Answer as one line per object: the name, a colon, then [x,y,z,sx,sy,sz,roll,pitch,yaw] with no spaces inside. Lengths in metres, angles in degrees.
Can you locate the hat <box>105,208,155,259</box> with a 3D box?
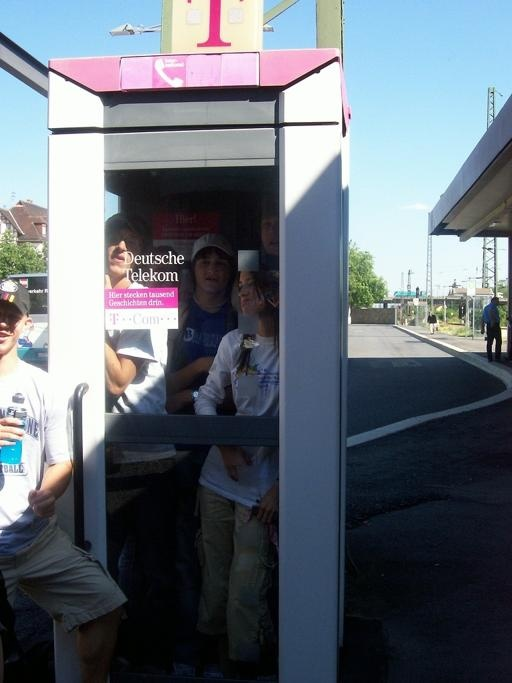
hat: [-0.466,-0.392,2.396,0.122,0.164,0.160,3,-21,-5]

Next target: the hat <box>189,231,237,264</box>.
hat: [-0.167,-0.335,2.368,0.125,0.101,0.211,-1,-3,-14]
